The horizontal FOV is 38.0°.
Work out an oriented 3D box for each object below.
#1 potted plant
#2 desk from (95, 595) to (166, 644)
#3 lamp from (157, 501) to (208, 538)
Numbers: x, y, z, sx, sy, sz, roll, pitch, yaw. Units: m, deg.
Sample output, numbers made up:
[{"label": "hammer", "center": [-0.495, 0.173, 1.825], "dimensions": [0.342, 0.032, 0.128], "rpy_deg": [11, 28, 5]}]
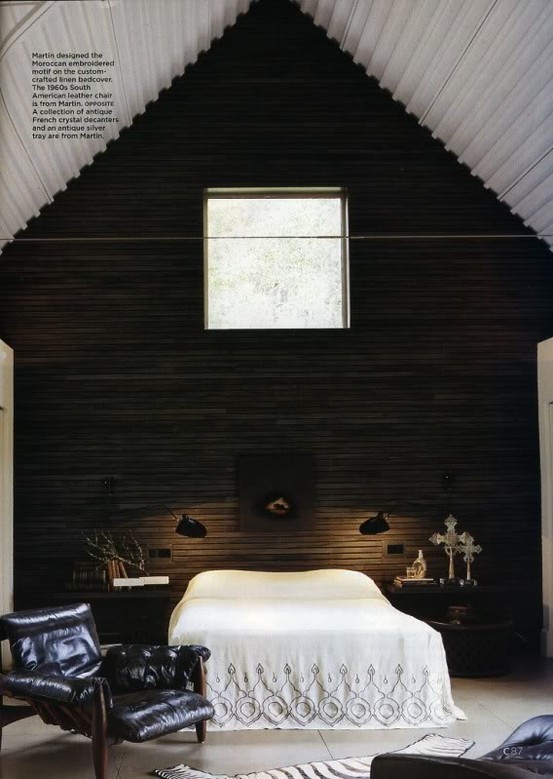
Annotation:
[{"label": "potted plant", "center": [-1.418, 1.456, 6.908], "dimensions": [0.592, 0.383, 0.497], "rpy_deg": [0, 9, -8]}, {"label": "desk", "center": [-1.202, 1.879, 6.812], "dimensions": [0.607, 0.616, 0.431], "rpy_deg": [0, -3, -5]}, {"label": "lamp", "center": [-0.810, 1.163, 7.036], "dimensions": [0.203, 0.272, 0.496], "rpy_deg": [9, -13, -33]}]
